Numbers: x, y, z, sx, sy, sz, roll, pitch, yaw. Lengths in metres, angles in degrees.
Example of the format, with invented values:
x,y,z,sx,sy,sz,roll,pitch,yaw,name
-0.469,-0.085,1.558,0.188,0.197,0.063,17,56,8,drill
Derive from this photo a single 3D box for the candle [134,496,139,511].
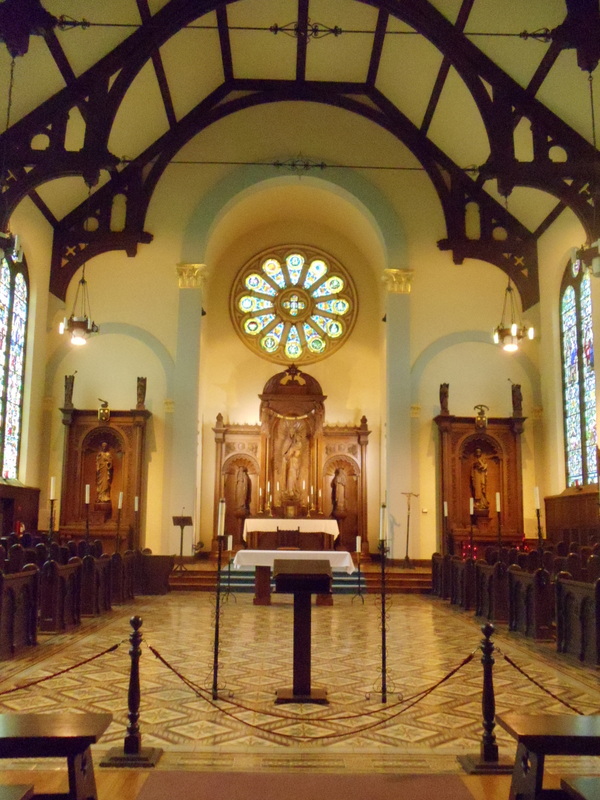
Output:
x,y,z,sx,sy,sz,roll,pitch,yaw,name
-3.415,2.170,13.784,0.065,0.310,0.490,4,-11,-18,candle

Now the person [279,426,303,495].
x,y,z,sx,sy,sz,roll,pitch,yaw,name
-0.218,1.559,17.822,0.558,1.792,0.265,1,-11,-3,person

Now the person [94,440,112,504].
x,y,z,sx,sy,sz,roll,pitch,yaw,name
-4.673,1.751,15.592,0.440,1.462,0.312,-4,-12,22,person

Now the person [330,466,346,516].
x,y,z,sx,sy,sz,roll,pitch,yaw,name
1.023,2.479,17.649,0.384,1.332,0.642,0,-11,2,person

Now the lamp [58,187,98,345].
x,y,z,sx,sy,sz,roll,pitch,yaw,name
-5.072,-2.335,15.237,0.828,2.665,2.884,5,-12,-20,lamp

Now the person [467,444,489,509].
x,y,z,sx,sy,sz,roll,pitch,yaw,name
4.375,1.949,16.089,0.374,1.635,0.488,-6,-13,32,person

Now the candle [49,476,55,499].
x,y,z,sx,sy,sz,roll,pitch,yaw,name
-3.837,1.366,10.226,0.068,0.342,0.492,5,-12,-23,candle

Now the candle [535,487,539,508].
x,y,z,sx,sy,sz,roll,pitch,yaw,name
3.268,1.367,9.079,0.050,0.269,0.230,-2,-11,13,candle

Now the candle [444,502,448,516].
x,y,z,sx,sy,sz,roll,pitch,yaw,name
2.863,2.117,12.910,0.038,0.248,0.443,-3,-11,18,candle

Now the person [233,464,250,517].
x,y,z,sx,sy,sz,roll,pitch,yaw,name
-1.521,2.354,17.664,0.473,1.177,0.372,1,-11,-4,person
